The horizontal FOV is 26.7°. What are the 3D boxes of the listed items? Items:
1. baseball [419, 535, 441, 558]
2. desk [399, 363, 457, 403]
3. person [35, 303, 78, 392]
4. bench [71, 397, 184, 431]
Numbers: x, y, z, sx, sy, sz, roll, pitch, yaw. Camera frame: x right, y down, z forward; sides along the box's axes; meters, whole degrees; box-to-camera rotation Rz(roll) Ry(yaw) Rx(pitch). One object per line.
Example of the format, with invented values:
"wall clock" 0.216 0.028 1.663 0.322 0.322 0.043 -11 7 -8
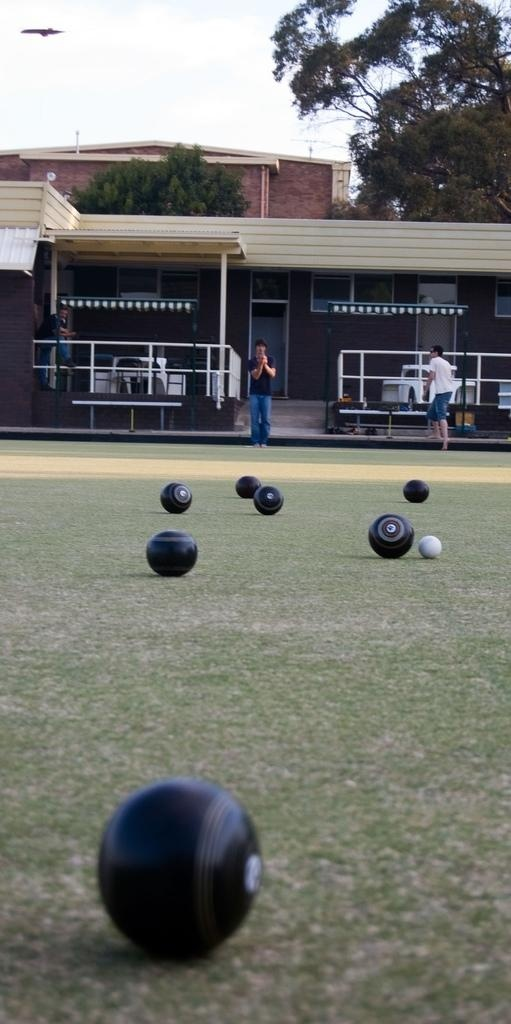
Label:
"baseball" 0.612 0.126 3.834 0.076 0.074 0.124 2 4 6
"desk" 3.330 -2.581 22.045 1.100 0.976 1.205 1 2 24
"person" -3.966 -3.440 21.514 0.592 1.323 0.528 -1 -12 -11
"bench" -2.467 -1.897 20.759 2.110 0.616 1.183 2 4 -9
